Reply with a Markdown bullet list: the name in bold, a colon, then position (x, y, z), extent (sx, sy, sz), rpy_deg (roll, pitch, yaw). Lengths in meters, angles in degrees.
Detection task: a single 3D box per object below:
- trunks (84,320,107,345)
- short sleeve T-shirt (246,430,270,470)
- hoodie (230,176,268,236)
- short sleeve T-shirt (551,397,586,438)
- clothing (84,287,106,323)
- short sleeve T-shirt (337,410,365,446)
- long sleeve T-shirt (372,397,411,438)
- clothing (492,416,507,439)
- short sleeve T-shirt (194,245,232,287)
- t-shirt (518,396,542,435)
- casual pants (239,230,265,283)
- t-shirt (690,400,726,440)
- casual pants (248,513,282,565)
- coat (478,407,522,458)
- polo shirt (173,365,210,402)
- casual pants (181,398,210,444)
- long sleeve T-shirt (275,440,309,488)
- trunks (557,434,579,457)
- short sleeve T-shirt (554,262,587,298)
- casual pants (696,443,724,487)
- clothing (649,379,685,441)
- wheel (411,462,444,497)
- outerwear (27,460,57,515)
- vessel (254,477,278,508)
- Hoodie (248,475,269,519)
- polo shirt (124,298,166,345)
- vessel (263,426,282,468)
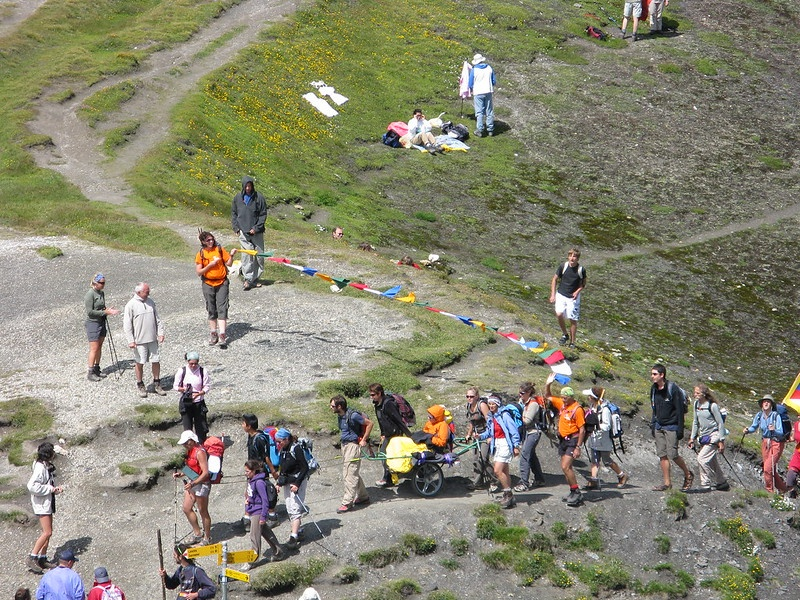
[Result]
- **trunks**: position (-10.392, 1.036, 46.328), extent (0.669, 0.854, 0.523), rpy_deg (-9, 30, -14)
- **short sleeve T-shirt**: position (-4.435, 4.827, 42.466), extent (0.677, 1.235, 0.832), rpy_deg (-2, 29, 0)
- **hoodie**: position (-5.684, -3.501, 50.588), extent (1.216, 2.077, 0.816), rpy_deg (-6, 29, -7)
- **short sleeve T-shirt**: position (5.589, 3.748, 44.332), extent (0.857, 1.017, 1.346), rpy_deg (-2, 28, 0)
- **clothing**: position (-10.486, 0.167, 46.394), extent (0.825, 1.119, 1.132), rpy_deg (3, 11, 12)
- **short sleeve T-shirt**: position (-1.556, 4.024, 43.220), extent (1.076, 1.023, 0.888), rpy_deg (-9, 9, -16)
- **long sleeve T-shirt**: position (-0.255, 3.813, 43.899), extent (0.677, 1.369, 0.978), rpy_deg (-23, 35, -33)
- **clothing**: position (3.186, 4.141, 43.517), extent (0.351, 0.519, 0.373), rpy_deg (-2, 29, 0)
- **short sleeve T-shirt**: position (-6.634, -1.223, 48.020), extent (1.137, 1.298, 0.758), rpy_deg (-5, 29, -6)
- **t-shirt**: position (4.139, 3.723, 44.327), extent (0.932, 1.361, 1.215), rpy_deg (-4, -15, 7)
- **casual pants**: position (-5.618, -1.782, 51.506), extent (0.972, 2.601, 0.814), rpy_deg (-16, 33, -29)
- **t-shirt**: position (10.308, 4.008, 44.982), extent (0.836, 1.444, 1.253), rpy_deg (-17, 14, -43)
- **casual pants**: position (-4.278, 7.515, 42.269), extent (1.105, 1.572, 0.550), rpy_deg (-19, 40, 2)
- **coat**: position (3.276, 4.237, 43.906), extent (1.494, 1.376, 0.769), rpy_deg (-13, -5, 38)
- **polo shirt**: position (-6.764, 2.642, 44.241), extent (1.229, 1.107, 0.658), rpy_deg (4, 17, 10)
- **casual pants**: position (-6.710, 3.994, 44.415), extent (1.000, 1.671, 0.558), rpy_deg (-3, 30, -4)
- **long sleeve T-shirt**: position (-3.410, 5.147, 42.685), extent (1.035, 1.270, 0.818), rpy_deg (-2, 2, 40)
- **trunks**: position (5.458, 4.742, 44.206), extent (0.615, 0.838, 0.942), rpy_deg (-3, -6, -30)
- **short sleeve T-shirt**: position (6.310, -0.746, 50.147), extent (1.363, 1.323, 0.880), rpy_deg (7, 14, 8)
- **casual pants**: position (10.350, 5.498, 45.202), extent (1.109, 1.742, 0.752), rpy_deg (-8, 34, 6)
- **clothing**: position (8.805, 3.576, 44.473), extent (1.148, 1.671, 0.885), rpy_deg (7, 30, 16)
- **wheel**: position (0.853, 5.842, 44.156), extent (1.222, 1.116, 0.411), rpy_deg (-2, 8, -16)
- **outerwear**: position (-11.163, 5.913, 42.165), extent (0.777, 1.719, 1.035), rpy_deg (-7, 29, -9)
- **vessel**: position (-4.375, 6.046, 42.272), extent (0.932, 0.857, 0.653), rpy_deg (4, 8, 20)
- **Hoodie**: position (-4.429, 6.112, 42.033), extent (0.840, 1.378, 1.393), rpy_deg (0, -2, -18)
- **polo shirt**: position (-8.746, 0.673, 45.639), extent (1.177, 1.592, 0.832), rpy_deg (-9, 30, -13)
- **vessel**: position (-4.000, 4.598, 42.452), extent (0.770, 1.066, 1.037), rpy_deg (-9, 58, -9)
